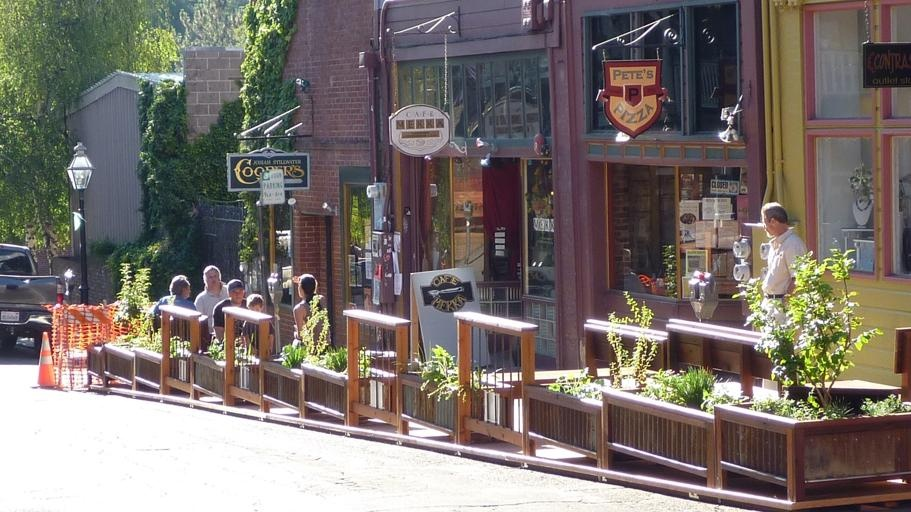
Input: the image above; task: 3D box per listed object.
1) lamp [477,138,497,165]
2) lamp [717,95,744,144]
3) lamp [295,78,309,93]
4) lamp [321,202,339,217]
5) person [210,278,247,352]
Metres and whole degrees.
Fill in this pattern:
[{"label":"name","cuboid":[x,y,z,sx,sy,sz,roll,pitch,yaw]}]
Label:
[{"label":"lamp","cuboid":[0.584,-1.985,31.330,0.374,0.532,0.735,0,3,0]},{"label":"lamp","cuboid":[4.696,-2.308,27.637,0.256,0.794,0.497,-3,4,-39]},{"label":"lamp","cuboid":[-3.315,-3.595,34.676,0.239,0.324,0.316,-4,-3,33]},{"label":"lamp","cuboid":[-2.677,-0.968,34.495,0.356,0.284,0.213,16,16,42]},{"label":"person","cuboid":[-4.020,1.108,29.499,0.821,1.362,0.921,0,-2,-3]}]
